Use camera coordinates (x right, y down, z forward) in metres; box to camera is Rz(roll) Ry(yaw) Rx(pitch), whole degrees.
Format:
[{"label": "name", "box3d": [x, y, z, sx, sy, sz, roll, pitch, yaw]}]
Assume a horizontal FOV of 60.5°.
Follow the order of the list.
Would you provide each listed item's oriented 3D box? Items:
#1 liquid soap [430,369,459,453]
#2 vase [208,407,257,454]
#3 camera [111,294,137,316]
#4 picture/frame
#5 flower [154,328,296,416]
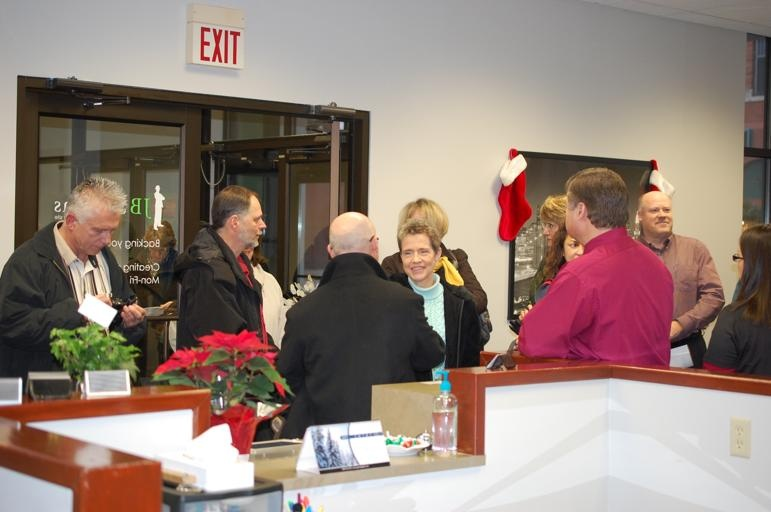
[{"label": "liquid soap", "box3d": [0.220, 0.609, 2.590, 0.094, 0.286, 0.132, 2, -6, -12]}, {"label": "vase", "box3d": [-0.572, 0.631, 2.463, 0.117, 0.168, 0.195, 0, 9, -3]}, {"label": "camera", "box3d": [-1.383, 0.252, 3.532, 0.130, 0.080, 0.184, -1, -6, -5]}, {"label": "picture/frame", "box3d": [1.125, -0.112, 4.129, 1.497, 1.508, 0.062, 3, -5, -15]}, {"label": "flower", "box3d": [-0.586, 0.400, 2.511, 0.365, 0.243, 0.388, 3, 9, -27]}]
